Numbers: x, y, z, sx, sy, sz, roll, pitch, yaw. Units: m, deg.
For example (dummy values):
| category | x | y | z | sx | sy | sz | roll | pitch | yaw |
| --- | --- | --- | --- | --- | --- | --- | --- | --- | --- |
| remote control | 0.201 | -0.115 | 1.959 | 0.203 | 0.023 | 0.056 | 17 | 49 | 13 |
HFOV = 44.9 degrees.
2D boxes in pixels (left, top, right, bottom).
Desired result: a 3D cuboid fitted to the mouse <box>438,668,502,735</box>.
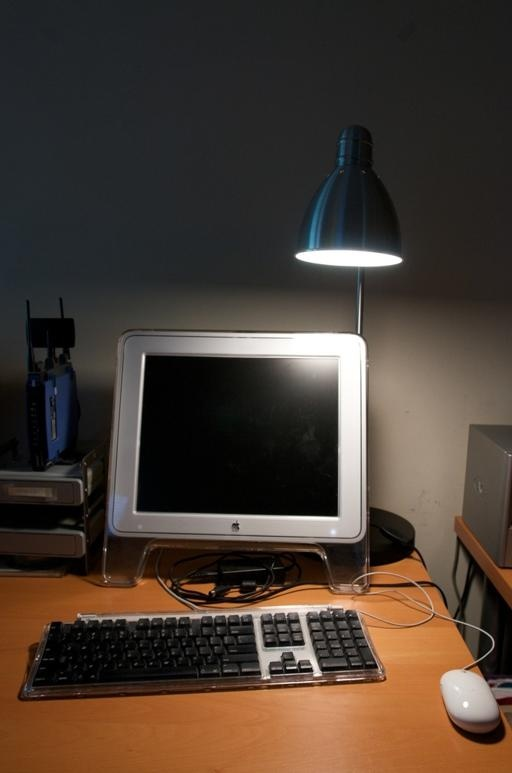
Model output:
| category | x | y | z | sx | sy | sz | roll | pitch | yaw |
| --- | --- | --- | --- | --- | --- | --- | --- | --- | --- |
| mouse | 0.236 | 0.344 | 0.684 | 0.053 | 0.034 | 0.117 | -4 | -2 | 6 |

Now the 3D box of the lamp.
| category | x | y | z | sx | sy | sz | roll | pitch | yaw |
| --- | --- | --- | --- | --- | --- | --- | --- | --- | --- |
| lamp | 0.173 | -0.054 | 1.036 | 0.205 | 0.690 | 0.318 | 2 | 10 | 10 |

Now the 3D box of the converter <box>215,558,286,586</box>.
| category | x | y | z | sx | sy | sz | roll | pitch | yaw |
| --- | --- | --- | --- | --- | --- | --- | --- | --- | --- |
| converter | -0.009 | 0.297 | 1.000 | 0.073 | 0.026 | 0.046 | 2 | 2 | -7 |
